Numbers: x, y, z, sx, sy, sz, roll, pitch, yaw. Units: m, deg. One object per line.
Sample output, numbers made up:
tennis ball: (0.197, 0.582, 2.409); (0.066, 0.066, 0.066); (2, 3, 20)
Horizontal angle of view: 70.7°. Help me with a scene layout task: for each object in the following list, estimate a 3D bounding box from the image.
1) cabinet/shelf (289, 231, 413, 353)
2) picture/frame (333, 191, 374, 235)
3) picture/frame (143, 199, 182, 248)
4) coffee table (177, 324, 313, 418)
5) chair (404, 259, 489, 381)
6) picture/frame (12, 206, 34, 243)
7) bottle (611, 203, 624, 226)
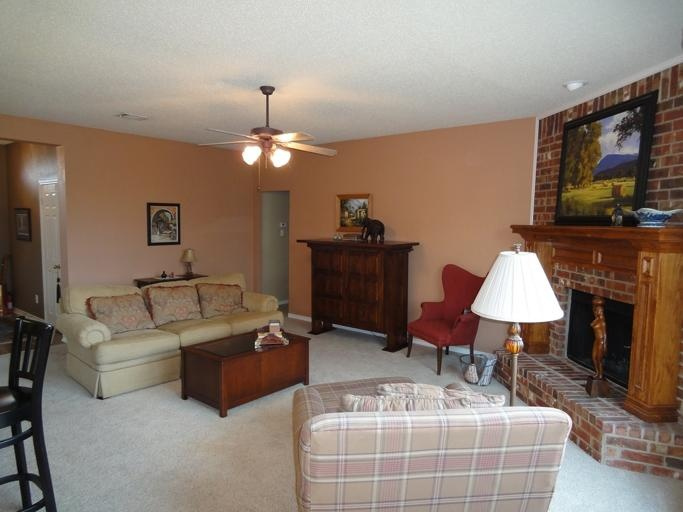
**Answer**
cabinet/shelf: (0.203, 0.529, 6.783); (1.676, 1.446, 0.710); (2, 3, 37)
picture/frame: (0.205, -0.646, 7.267); (0.707, 0.681, 0.060); (3, 3, 38)
picture/frame: (-2.759, -0.492, 7.354); (0.061, 0.853, 0.719); (2, 5, 40)
coffee table: (-1.116, 0.947, 4.970); (0.712, 0.572, 1.188); (2, 3, 39)
chair: (1.274, 0.752, 6.595); (1.173, 1.636, 1.240); (1, 4, -29)
picture/frame: (-5.079, -0.503, 7.713); (0.620, 0.619, 0.049); (3, 8, 37)
bottle: (2.500, -0.367, 4.359); (0.087, 0.187, 0.256); (8, 13, 29)
